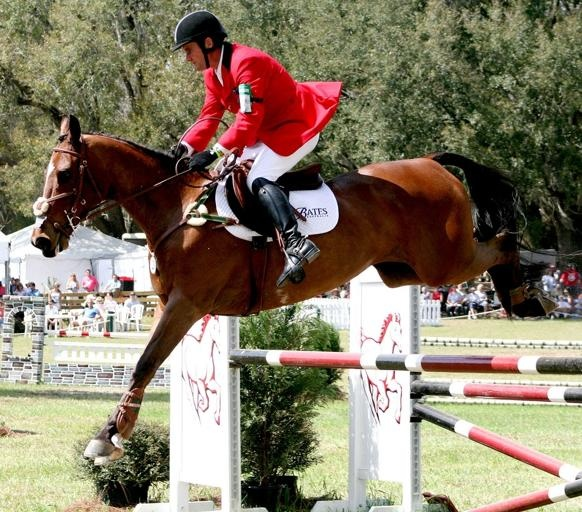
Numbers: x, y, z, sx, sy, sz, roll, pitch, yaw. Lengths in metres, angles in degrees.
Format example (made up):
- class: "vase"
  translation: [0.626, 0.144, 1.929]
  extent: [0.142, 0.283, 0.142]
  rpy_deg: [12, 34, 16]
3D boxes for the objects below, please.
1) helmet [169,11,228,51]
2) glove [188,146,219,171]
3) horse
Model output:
- class: "helmet"
  translation: [-0.567, -1.369, 5.425]
  extent: [0.393, 0.206, 0.276]
  rpy_deg: [-13, 15, -6]
- class: "glove"
  translation: [-0.521, -0.573, 5.263]
  extent: [0.117, 0.070, 0.154]
  rpy_deg: [-27, 1, -40]
- class: "horse"
  translation: [0.155, 0.056, 5.718]
  extent: [3.477, 1.931, 0.700]
  rpy_deg: [-10, 6, -25]
